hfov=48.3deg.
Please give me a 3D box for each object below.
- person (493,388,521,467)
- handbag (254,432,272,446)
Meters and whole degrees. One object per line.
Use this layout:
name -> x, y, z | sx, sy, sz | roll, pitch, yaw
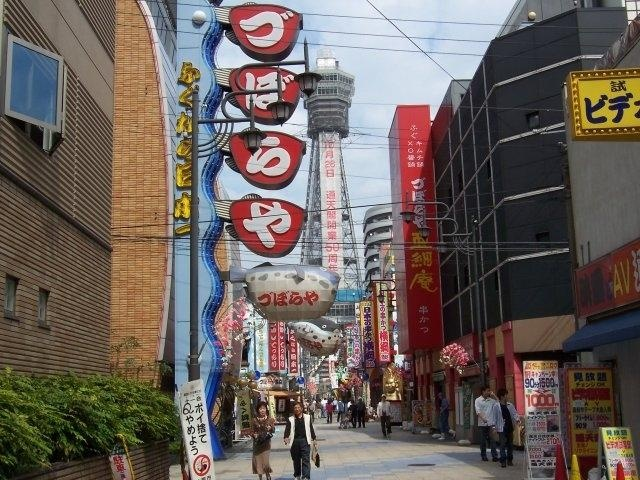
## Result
person -> 5.381, 5.381, 20.574 | 0.775, 2.402, 0.687 | -1, -4, 11
handbag -> -1.406, 4.880, 17.531 | 0.418, 0.259, 0.330 | -1, -18, -7
